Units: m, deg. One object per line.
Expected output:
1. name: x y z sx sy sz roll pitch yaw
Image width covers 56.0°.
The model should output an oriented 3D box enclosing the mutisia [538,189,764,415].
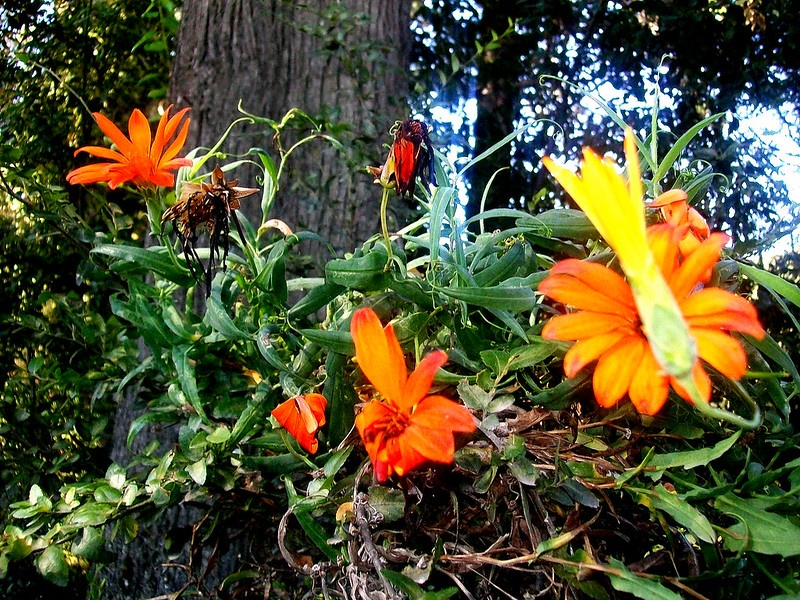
1. mutisia: 0.336 0.024 0.985 0.079 0.239 0.248 43 4 -32

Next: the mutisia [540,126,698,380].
1. mutisia: 0.269 -0.053 0.884 0.067 0.089 0.250 22 -30 -24

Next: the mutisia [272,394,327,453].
1. mutisia: -0.141 0.181 1.105 0.084 0.085 0.078 1 7 -32

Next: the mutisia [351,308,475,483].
1. mutisia: 0.015 0.155 1.109 0.209 0.192 0.096 47 -4 10
